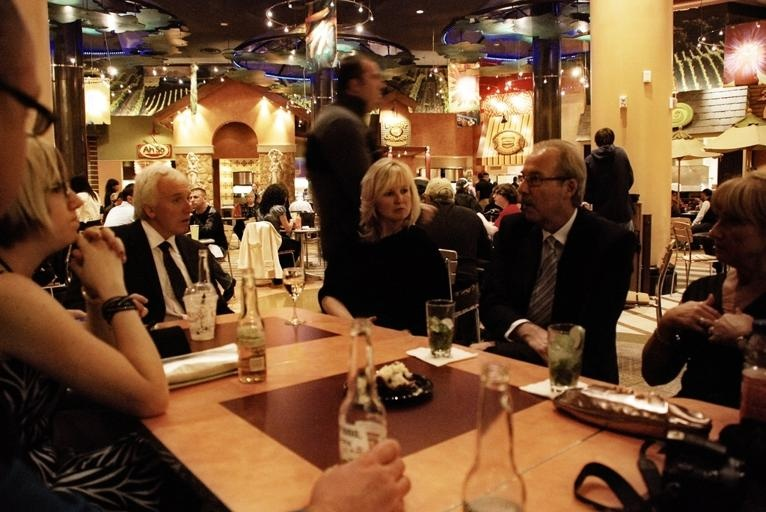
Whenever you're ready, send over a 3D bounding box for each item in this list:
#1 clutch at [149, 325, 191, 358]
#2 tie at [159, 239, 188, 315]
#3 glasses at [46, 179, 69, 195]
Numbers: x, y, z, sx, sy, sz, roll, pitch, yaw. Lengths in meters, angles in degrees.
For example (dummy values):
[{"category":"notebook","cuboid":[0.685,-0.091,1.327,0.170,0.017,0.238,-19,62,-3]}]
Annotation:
[{"category":"clutch","cuboid":[-0.796,0.326,2.122,0.119,0.121,0.043,-21,2,-32]},{"category":"tie","cuboid":[-1.124,0.125,3.015,0.073,0.418,0.060,-21,-16,-19]},{"category":"glasses","cuboid":[-1.115,-0.242,1.945,0.040,0.024,0.053,-4,22,7]}]
